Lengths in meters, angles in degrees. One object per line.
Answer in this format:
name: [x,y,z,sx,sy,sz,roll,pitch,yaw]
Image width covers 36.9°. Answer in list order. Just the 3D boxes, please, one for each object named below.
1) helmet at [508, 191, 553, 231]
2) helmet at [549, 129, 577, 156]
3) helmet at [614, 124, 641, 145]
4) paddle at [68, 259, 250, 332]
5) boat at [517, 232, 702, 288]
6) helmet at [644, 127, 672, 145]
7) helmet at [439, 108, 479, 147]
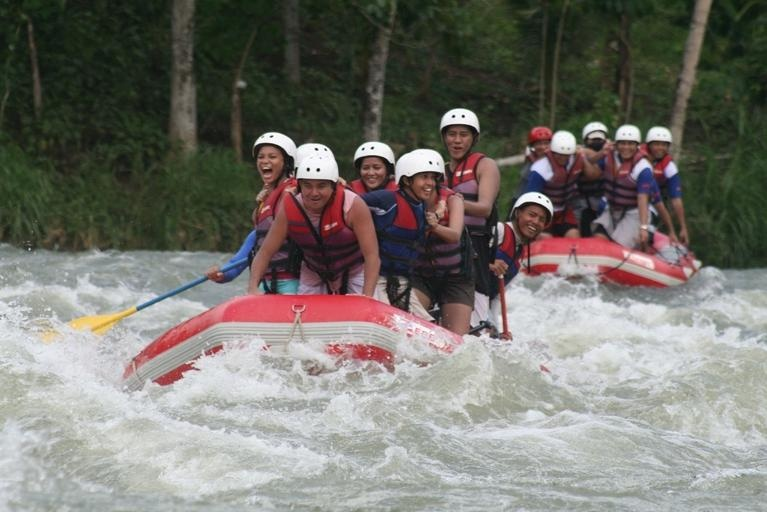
helmet: [2.099,-0.687,16.223,0.427,0.458,0.559,20,-8,-31]
helmet: [2.963,-1.878,19.062,0.318,0.355,0.427,6,6,-1]
helmet: [4.124,-2.030,19.523,0.380,0.426,0.521,4,13,9]
paddle: [-3.478,0.631,17.663,2.573,0.367,0.192,-21,-5,0]
boat: [3.824,0.112,19.467,2.045,0.479,1.340,13,5,-3]
helmet: [4.692,-2.028,19.671,0.377,0.392,0.519,7,6,-1]
helmet: [1.109,-1.878,16.566,0.451,0.477,0.605,5,16,2]
